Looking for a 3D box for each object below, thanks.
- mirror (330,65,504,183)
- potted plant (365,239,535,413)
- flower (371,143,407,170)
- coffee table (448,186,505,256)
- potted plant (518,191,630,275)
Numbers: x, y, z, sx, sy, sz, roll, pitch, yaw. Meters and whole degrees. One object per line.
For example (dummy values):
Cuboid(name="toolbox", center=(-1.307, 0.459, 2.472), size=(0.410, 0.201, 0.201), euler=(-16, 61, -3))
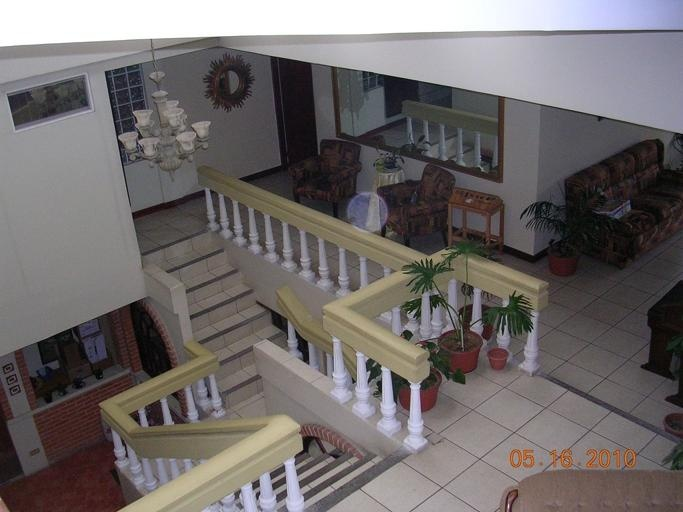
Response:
Cuboid(name="mirror", center=(1.302, -2.134, 8.542), size=(2.745, 1.345, 0.117), euler=(23, 45, 27))
Cuboid(name="potted plant", center=(1.330, 0.735, 5.900), size=(1.481, 1.533, 1.866), euler=(15, 39, 27))
Cuboid(name="flower", center=(0.902, -1.798, 9.755), size=(0.442, 0.240, 0.679), euler=(-5, 39, -5))
Cuboid(name="coffee table", center=(2.277, -0.457, 8.779), size=(0.752, 1.359, 0.511), euler=(22, 39, 39))
Cuboid(name="potted plant", center=(3.742, -0.307, 8.326), size=(1.528, 1.280, 1.148), euler=(15, 5, 22))
